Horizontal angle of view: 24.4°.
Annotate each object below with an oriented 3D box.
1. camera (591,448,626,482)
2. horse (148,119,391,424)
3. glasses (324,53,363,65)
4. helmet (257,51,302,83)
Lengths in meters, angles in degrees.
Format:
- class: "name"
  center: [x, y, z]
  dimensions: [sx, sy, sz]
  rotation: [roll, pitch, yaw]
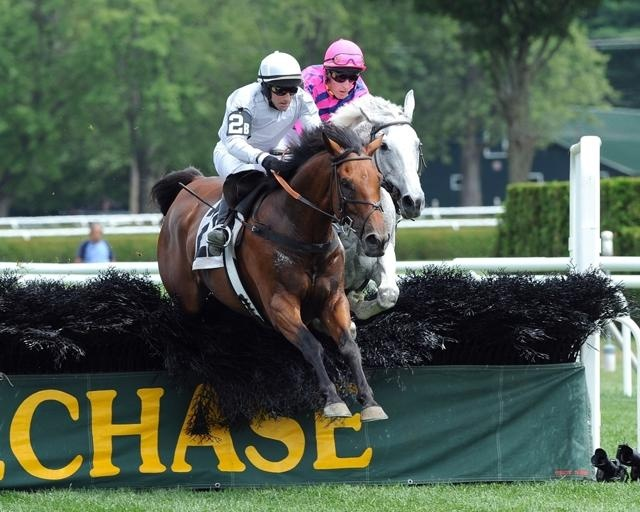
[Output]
- class: "camera"
  center: [2.534, 1.850, 12.982]
  dimensions: [0.179, 0.248, 0.425]
  rotation: [-26, -22, 30]
- class: "horse"
  center: [-0.395, 0.075, 12.938]
  dimensions: [2.452, 2.419, 0.880]
  rotation: [10, 18, 36]
- class: "glasses"
  center: [0.223, -1.763, 13.400]
  dimensions: [0.364, 0.121, 0.150]
  rotation: [-1, 14, 0]
- class: "helmet"
  center: [-0.351, -1.658, 13.043]
  dimensions: [0.392, 0.251, 0.333]
  rotation: [-2, 14, -5]
